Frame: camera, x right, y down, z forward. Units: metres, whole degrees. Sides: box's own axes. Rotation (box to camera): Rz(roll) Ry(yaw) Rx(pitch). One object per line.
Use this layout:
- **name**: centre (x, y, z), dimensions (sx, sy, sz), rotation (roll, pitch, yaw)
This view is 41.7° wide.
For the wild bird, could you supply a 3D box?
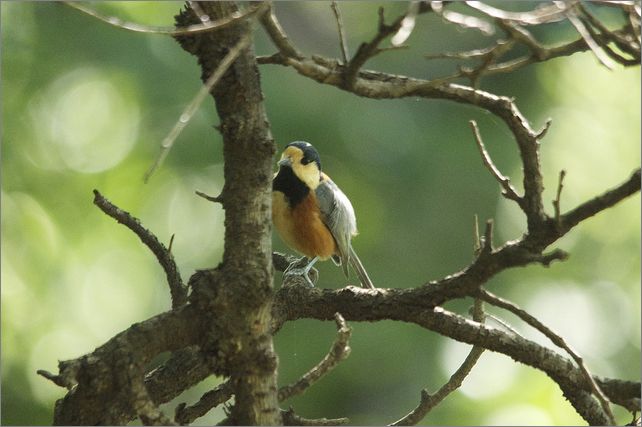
- **wild bird**: centre (0.019, 0.010, 4.603), dimensions (0.417, 0.694, 0.729), rotation (11, -85, 43)
